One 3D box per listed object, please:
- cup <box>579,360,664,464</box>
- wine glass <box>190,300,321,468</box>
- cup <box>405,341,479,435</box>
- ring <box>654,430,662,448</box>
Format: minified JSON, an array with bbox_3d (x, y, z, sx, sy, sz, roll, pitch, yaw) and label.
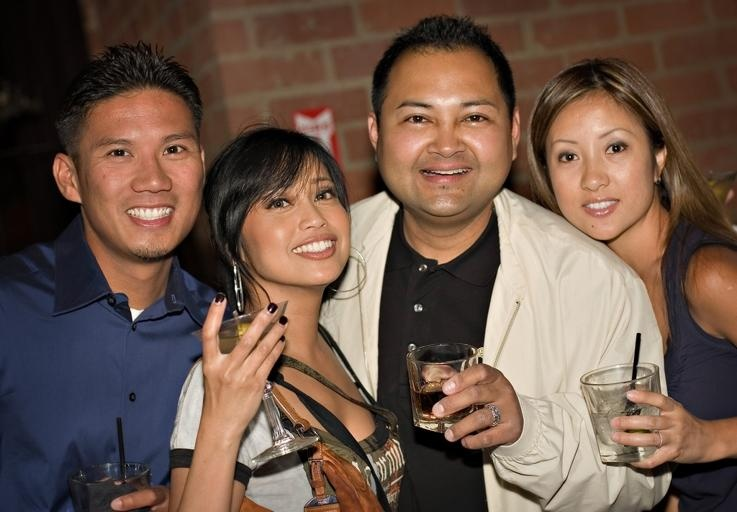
[{"bbox_3d":[1.123,0.749,2.987,0.321,0.509,0.349,-6,4,0],"label":"cup"},{"bbox_3d":[-0.437,0.578,2.915,0.378,0.745,0.260,-7,4,-12],"label":"wine glass"},{"bbox_3d":[0.317,0.585,3.085,0.383,0.373,0.309,-12,12,-42],"label":"cup"},{"bbox_3d":[1.247,0.785,2.876,0.019,0.055,0.045,-1,-3,-2],"label":"ring"}]
